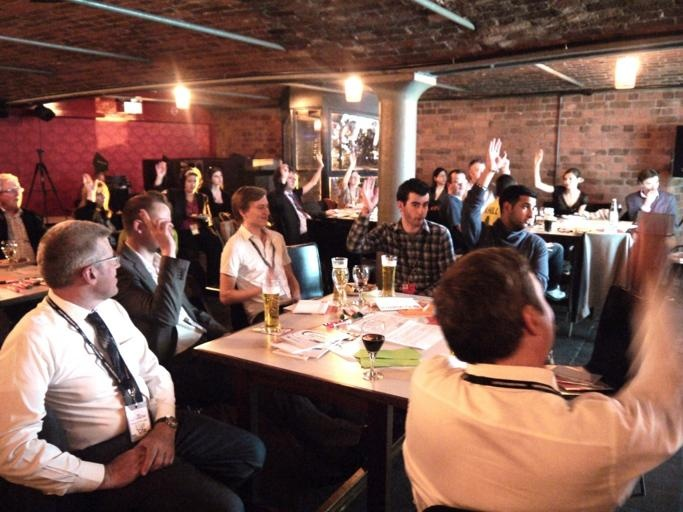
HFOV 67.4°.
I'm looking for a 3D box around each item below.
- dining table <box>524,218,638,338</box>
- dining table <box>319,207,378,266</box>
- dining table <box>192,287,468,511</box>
[{"bbox_3d":[1.759,0.156,3.744,0.965,0.688,0.584,8,25,24],"label":"dining table"},{"bbox_3d":[0.015,-0.293,6.308,0.922,0.870,0.631,2,5,19],"label":"dining table"},{"bbox_3d":[0.006,0.485,2.318,0.784,0.504,0.858,9,17,28],"label":"dining table"}]
